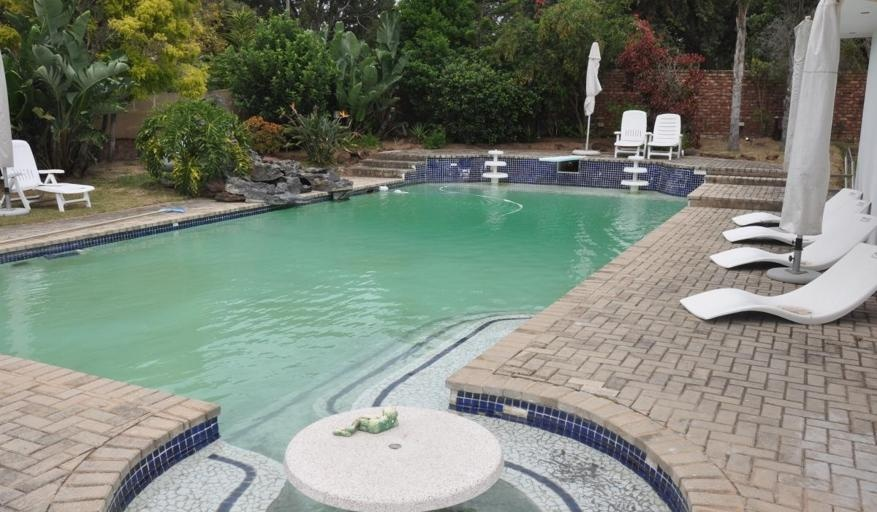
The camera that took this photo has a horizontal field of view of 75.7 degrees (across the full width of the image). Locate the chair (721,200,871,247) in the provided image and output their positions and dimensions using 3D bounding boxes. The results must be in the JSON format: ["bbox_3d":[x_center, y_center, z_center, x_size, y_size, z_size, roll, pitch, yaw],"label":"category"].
[{"bbox_3d":[5.790,-0.440,9.204,1.755,0.519,0.847,-2,10,12],"label":"chair"}]
